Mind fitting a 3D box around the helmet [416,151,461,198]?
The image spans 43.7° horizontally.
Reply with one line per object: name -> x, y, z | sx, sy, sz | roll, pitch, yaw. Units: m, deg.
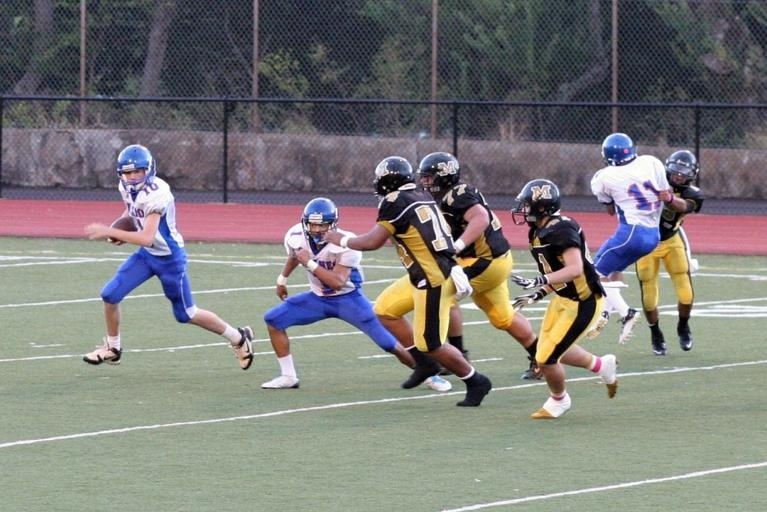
helmet -> 0.511, -0.803, 9.109 | 0.519, 0.387, 0.348 | -2, 13, -5

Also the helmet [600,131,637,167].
helmet -> 2.687, -1.193, 10.919 | 0.454, 0.289, 0.311 | 2, 9, -30

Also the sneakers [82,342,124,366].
sneakers -> -2.805, 0.923, 9.268 | 0.528, 0.152, 0.239 | 0, -31, -20

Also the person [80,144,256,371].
person -> -2.200, 0.029, 9.320 | 1.534, 2.238, 0.829 | -3, 4, -7

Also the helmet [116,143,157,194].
helmet -> -2.410, -0.848, 9.285 | 0.324, 0.454, 0.338 | -3, 4, -15

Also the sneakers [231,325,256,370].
sneakers -> -1.320, 0.863, 9.247 | 0.237, 0.413, 0.181 | -17, 20, -30

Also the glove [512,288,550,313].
glove -> 1.210, 0.352, 7.803 | 0.292, 0.209, 0.473 | -2, 3, 7

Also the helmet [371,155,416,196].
helmet -> 0.123, -0.697, 8.359 | 0.442, 0.341, 0.336 | -3, 3, 25

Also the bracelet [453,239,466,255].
bracelet -> 0.711, -0.087, 8.786 | 0.124, 0.103, 0.112 | -6, 38, 34

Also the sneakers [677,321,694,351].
sneakers -> 3.322, 0.856, 10.495 | 0.143, 0.370, 0.174 | -9, -21, 8

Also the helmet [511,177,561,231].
helmet -> 1.208, -0.437, 8.042 | 0.588, 0.413, 0.371 | -2, 4, -5

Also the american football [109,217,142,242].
american football -> -2.550, -0.278, 9.417 | 0.294, 0.256, 0.227 | -6, 21, -10

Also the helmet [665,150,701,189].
helmet -> 3.516, -1.047, 11.196 | 0.410, 0.350, 0.473 | 21, 24, 20

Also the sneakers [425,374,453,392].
sneakers -> 0.522, 1.183, 8.875 | 0.262, 0.087, 0.121 | 2, 9, 17

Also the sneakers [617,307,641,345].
sneakers -> 2.788, 0.797, 10.780 | 0.242, 0.411, 0.147 | 17, 39, 3

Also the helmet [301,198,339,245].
helmet -> -0.651, -0.343, 8.543 | 0.383, 0.358, 0.421 | -1, 18, 6

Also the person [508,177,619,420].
person -> 1.506, 0.347, 7.902 | 0.825, 1.963, 1.025 | -2, 4, 11

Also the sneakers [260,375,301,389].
sneakers -> -0.938, 1.160, 8.856 | 0.410, 0.125, 0.125 | 2, 1, -2

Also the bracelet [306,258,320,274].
bracelet -> -0.615, 0.078, 8.407 | 0.122, 0.110, 0.100 | -26, 30, 14
